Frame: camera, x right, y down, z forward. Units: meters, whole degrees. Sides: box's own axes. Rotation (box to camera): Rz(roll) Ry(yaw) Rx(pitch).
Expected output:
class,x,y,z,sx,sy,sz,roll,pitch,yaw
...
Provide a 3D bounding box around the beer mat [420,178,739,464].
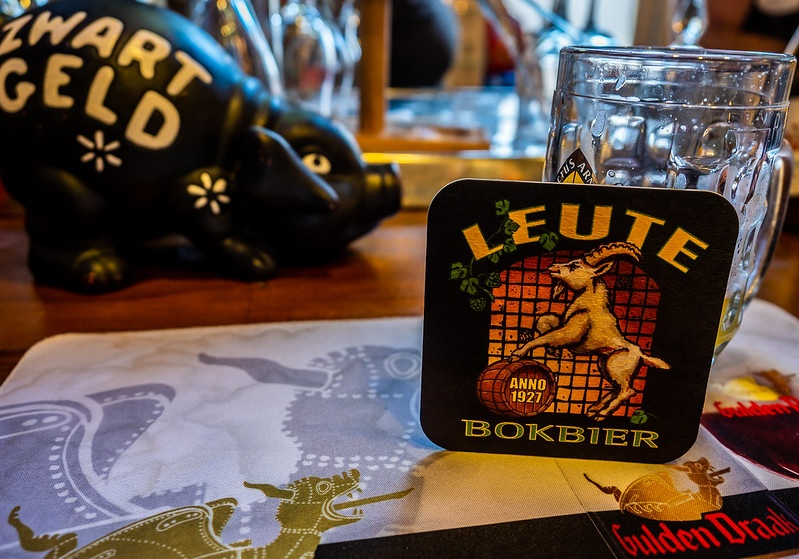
class,x,y,z,sx,sy,sz,roll,pitch,yaw
beer mat,0.128,0.031,0.560,0.233,0.206,0.010,4,13,-1
